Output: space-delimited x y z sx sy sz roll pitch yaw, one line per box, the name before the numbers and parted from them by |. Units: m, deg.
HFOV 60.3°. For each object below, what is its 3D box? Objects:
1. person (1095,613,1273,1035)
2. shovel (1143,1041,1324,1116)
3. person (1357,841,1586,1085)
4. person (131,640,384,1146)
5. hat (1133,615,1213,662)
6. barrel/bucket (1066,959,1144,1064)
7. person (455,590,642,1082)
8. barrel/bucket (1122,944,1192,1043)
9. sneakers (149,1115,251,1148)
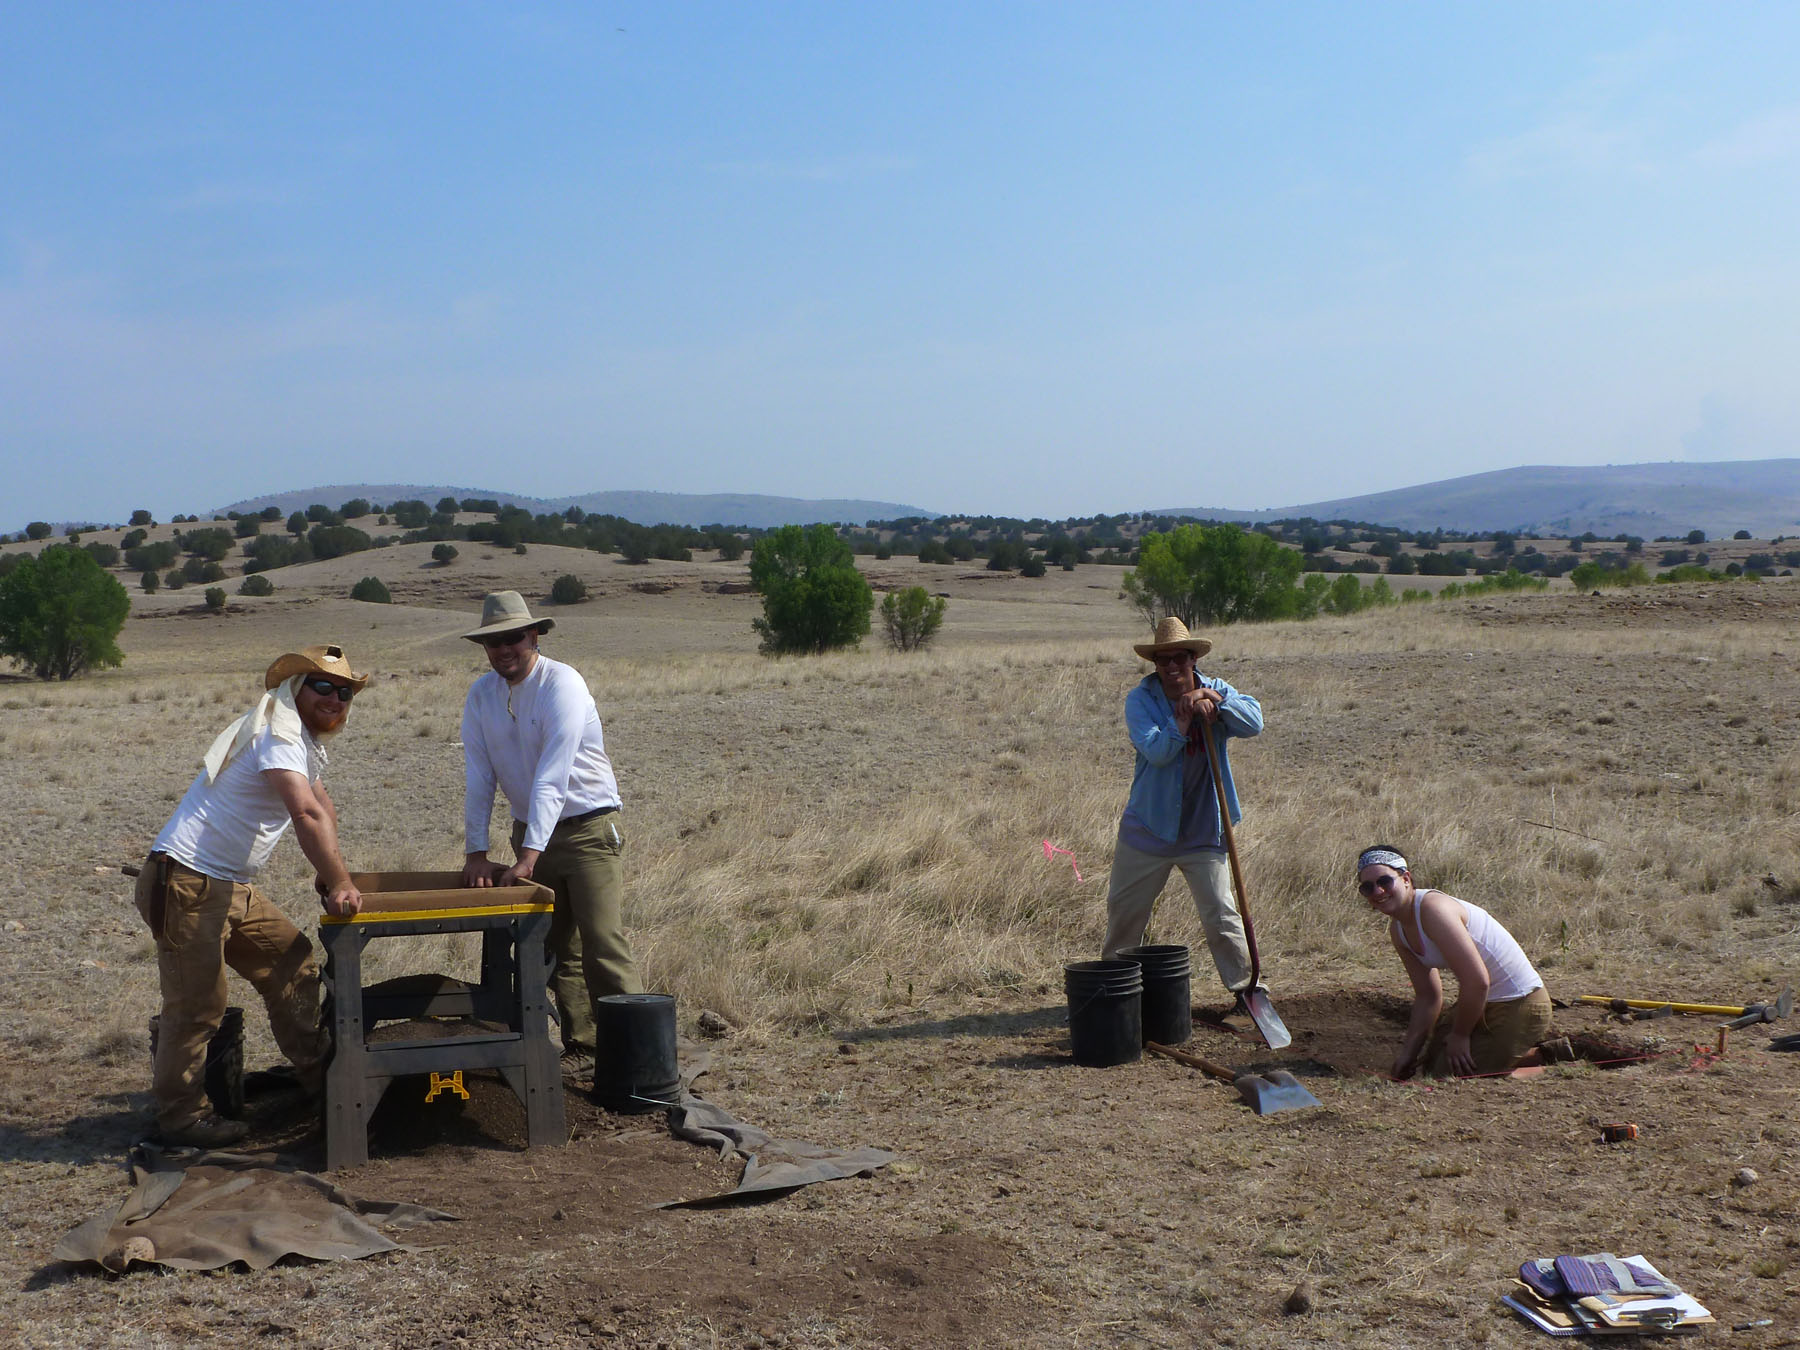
person | 1.737 0.874 9.434 0.962 2.482 0.520 0 9 6
shovel | 1.920 2.213 8.648 0.437 0.185 1.222 -3 7 -19
person | 3.109 1.583 8.681 0.996 1.286 0.597 3 9 22
person | -3.251 1.105 7.764 1.122 2.473 1.194 -5 10 -26
hat | 1.646 -0.200 9.302 0.364 0.313 0.508 0 7 2
barrel/bucket | 1.190 1.949 9.015 0.564 0.523 0.530 -1 -7 0
person | -1.987 0.818 8.657 0.905 2.565 1.505 -3 9 -15
barrel/bucket | 1.612 1.941 9.426 0.527 0.537 0.529 0 -10 0
sneakers | -3.486 2.261 7.757 0.485 0.183 0.172 1 2 -7
